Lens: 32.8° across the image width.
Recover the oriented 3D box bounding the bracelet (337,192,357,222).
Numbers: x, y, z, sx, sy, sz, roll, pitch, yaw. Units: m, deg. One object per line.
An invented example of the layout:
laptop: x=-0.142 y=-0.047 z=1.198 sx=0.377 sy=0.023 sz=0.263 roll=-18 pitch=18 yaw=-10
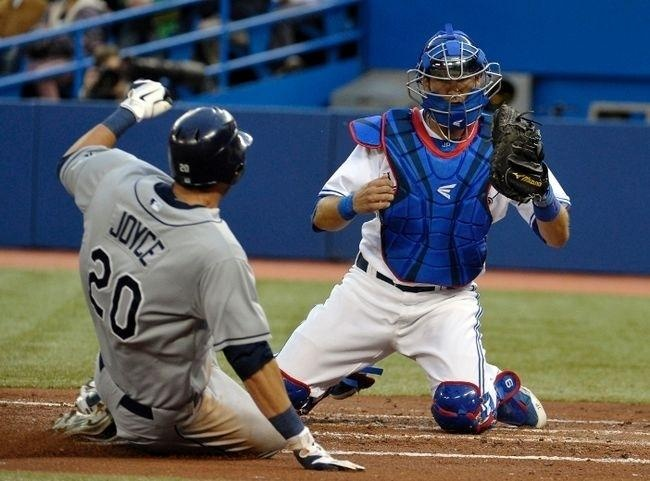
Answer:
bracelet: x=0.142 y=-0.214 z=7.378 sx=0.162 sy=0.153 sz=0.156 roll=-8 pitch=15 yaw=-28

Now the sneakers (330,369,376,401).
sneakers: x=0.226 y=1.024 z=8.002 sx=0.465 sy=0.200 sz=0.147 roll=3 pitch=-21 yaw=45

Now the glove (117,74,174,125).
glove: x=-1.207 y=-0.922 z=7.375 sx=0.325 sy=0.279 sz=0.125 roll=-22 pitch=-13 yaw=-36

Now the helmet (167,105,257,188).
helmet: x=-0.738 y=-0.593 z=6.867 sx=0.555 sy=0.439 sz=0.428 roll=-14 pitch=31 yaw=-30

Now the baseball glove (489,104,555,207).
baseball glove: x=1.247 y=-0.541 z=7.411 sx=0.430 sy=0.619 sz=0.296 roll=0 pitch=-17 yaw=-24

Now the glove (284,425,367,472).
glove: x=-0.016 y=1.303 z=6.720 sx=0.507 sy=0.235 sz=0.162 roll=6 pitch=6 yaw=29

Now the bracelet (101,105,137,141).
bracelet: x=-1.359 y=-0.783 z=7.349 sx=0.262 sy=0.162 sz=0.108 roll=-43 pitch=-11 yaw=-24

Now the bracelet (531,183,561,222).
bracelet: x=1.483 y=-0.218 z=7.364 sx=0.190 sy=0.243 sz=0.237 roll=-8 pitch=49 yaw=16
